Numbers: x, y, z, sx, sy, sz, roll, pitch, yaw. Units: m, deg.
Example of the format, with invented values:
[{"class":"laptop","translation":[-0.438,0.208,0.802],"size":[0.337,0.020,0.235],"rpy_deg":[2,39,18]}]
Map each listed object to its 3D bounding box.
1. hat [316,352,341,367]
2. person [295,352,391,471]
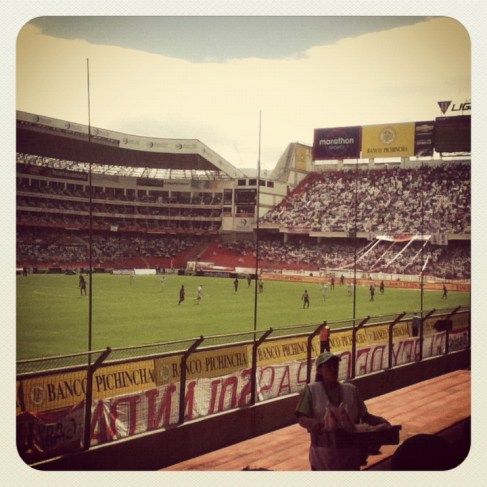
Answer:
[{"class":"hat","translation":[0.959,1.323,6.167],"size":[0.266,0.158,0.154],"rpy_deg":[-2,1,12]},{"class":"person","translation":[1.036,1.988,6.205],"size":[0.942,1.494,0.514],"rpy_deg":[-2,1,-16]}]
